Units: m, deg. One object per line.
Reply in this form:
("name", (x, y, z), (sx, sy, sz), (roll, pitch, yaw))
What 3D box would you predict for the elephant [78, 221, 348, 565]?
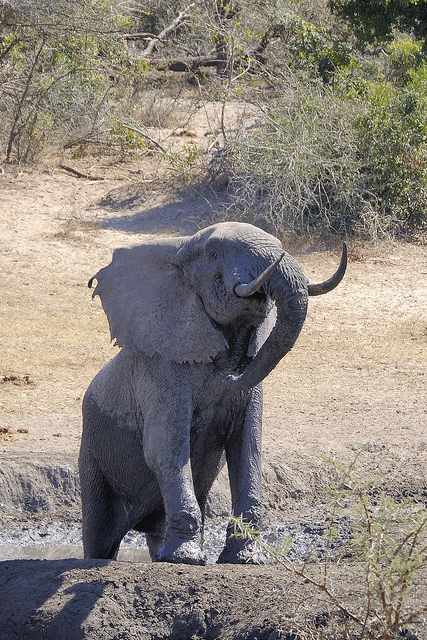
("elephant", (-0.135, 0.408, 5.128), (0.680, 1.715, 1.193), (5, 6, -25))
